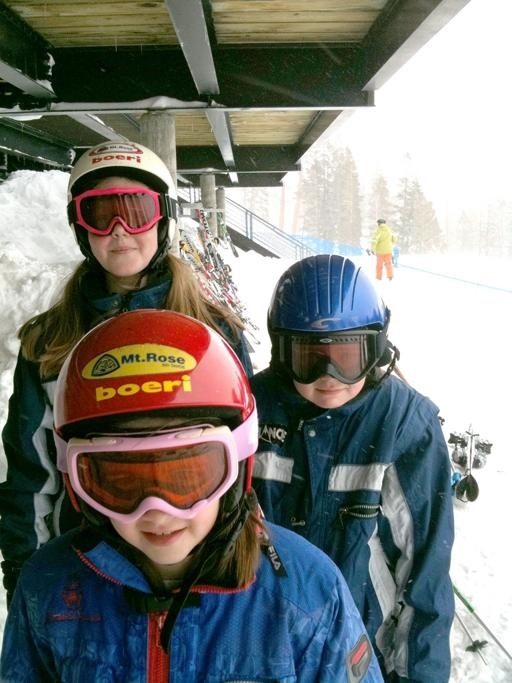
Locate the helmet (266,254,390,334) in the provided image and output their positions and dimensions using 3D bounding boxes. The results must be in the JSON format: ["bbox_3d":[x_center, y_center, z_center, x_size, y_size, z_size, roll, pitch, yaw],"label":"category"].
[{"bbox_3d":[0.211,-0.180,2.021,0.255,0.232,0.304,8,1,-5],"label":"helmet"}]

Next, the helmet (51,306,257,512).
[{"bbox_3d":[-0.241,0.161,1.445,0.485,0.443,0.543,1,11,12],"label":"helmet"}]

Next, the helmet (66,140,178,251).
[{"bbox_3d":[-0.534,-0.527,2.323,0.406,0.496,0.443,-6,-4,-5],"label":"helmet"}]
